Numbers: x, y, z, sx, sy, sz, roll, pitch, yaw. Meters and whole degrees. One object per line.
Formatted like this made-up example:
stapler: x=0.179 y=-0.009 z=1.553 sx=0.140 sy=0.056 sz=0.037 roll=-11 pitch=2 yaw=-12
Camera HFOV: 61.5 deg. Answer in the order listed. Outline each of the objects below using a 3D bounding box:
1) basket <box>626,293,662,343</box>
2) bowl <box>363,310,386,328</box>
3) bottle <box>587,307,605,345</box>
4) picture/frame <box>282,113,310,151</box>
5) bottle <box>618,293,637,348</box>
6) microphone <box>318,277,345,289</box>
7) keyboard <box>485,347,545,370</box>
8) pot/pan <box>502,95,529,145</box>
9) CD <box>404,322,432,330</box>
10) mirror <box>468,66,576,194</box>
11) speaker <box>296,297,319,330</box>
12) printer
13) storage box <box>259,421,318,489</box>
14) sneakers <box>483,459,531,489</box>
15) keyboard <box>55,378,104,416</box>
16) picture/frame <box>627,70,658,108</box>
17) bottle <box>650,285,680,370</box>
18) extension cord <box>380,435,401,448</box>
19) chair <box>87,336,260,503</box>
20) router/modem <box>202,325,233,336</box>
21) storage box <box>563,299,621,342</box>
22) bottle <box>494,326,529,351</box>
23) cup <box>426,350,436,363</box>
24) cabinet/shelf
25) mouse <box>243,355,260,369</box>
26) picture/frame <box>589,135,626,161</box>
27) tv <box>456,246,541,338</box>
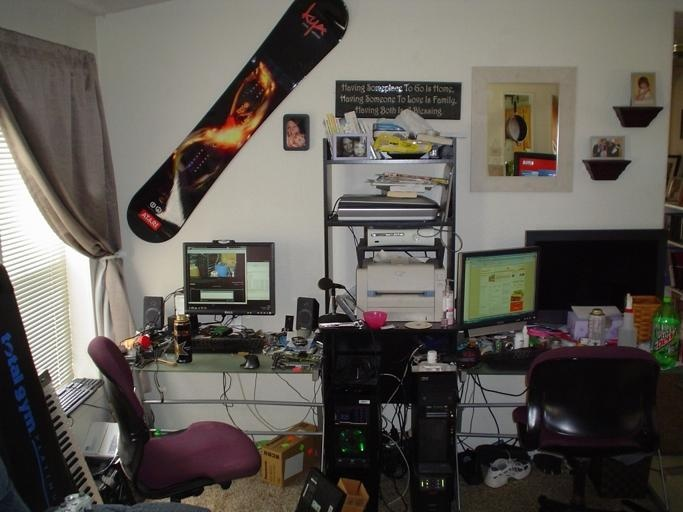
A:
basket: x=2.060 y=0.400 z=3.885 sx=0.179 sy=0.281 sz=0.182 roll=-4 pitch=4 yaw=-31
bowl: x=0.207 y=0.392 z=3.585 sx=0.105 sy=0.068 sz=0.107 roll=3 pitch=-5 yaw=0
bottle: x=1.663 y=0.463 z=3.749 sx=0.102 sy=0.204 sz=0.167 roll=2 pitch=9 yaw=22
picture/frame: x=-0.313 y=-0.867 z=3.964 sx=0.225 sy=0.310 sz=0.032 roll=0 pitch=8 yaw=-1
bottle: x=1.851 y=0.406 z=3.690 sx=0.167 sy=0.313 sz=0.100 roll=-10 pitch=12 yaw=-43
microphone: x=-0.061 y=0.182 z=3.708 sx=0.128 sy=0.079 sz=0.148 roll=1 pitch=9 yaw=18
keyboard: x=1.057 y=0.637 z=3.568 sx=0.236 sy=0.075 sz=0.173 roll=0 pitch=1 yaw=-21
pot/pan: x=1.186 y=-0.924 z=3.868 sx=0.157 sy=0.302 sz=0.097 roll=-2 pitch=12 yaw=3
CD: x=0.485 y=0.436 z=3.616 sx=0.164 sy=0.026 sz=0.119 roll=-1 pitch=9 yaw=3
mirror: x=1.244 y=-0.898 z=3.920 sx=0.754 sy=0.962 sz=0.031 roll=1 pitch=5 yaw=1
speaker: x=-0.228 y=0.381 z=3.922 sx=0.132 sy=0.219 sz=0.127 roll=4 pitch=5 yaw=26
printer: x=0.400 y=0.170 z=3.792 sx=0.593 sy=0.401 sz=0.357 roll=1 pitch=22 yaw=11
storage box: x=-0.343 y=1.375 z=3.977 sx=0.199 sy=0.281 sz=0.410 roll=6 pitch=12 yaw=37
sneakers: x=1.100 y=1.439 z=3.834 sx=0.342 sy=0.145 sz=0.139 roll=-8 pitch=8 yaw=-23
keyboard: x=-1.714 y=0.905 z=3.760 sx=0.237 sy=0.087 sz=0.368 roll=7 pitch=22 yaw=7
picture/frame: x=2.019 y=-1.121 z=3.848 sx=0.243 sy=0.368 sz=0.036 roll=1 pitch=-1 yaw=4
bottle: x=2.020 y=0.470 z=3.575 sx=0.147 sy=0.430 sz=0.149 roll=-2 pitch=8 yaw=0
extension cord: x=0.334 y=1.286 z=3.969 sx=0.149 sy=0.067 sz=0.220 roll=0 pitch=-6 yaw=15
chair: x=-0.879 y=0.991 z=3.253 sx=0.811 sy=1.133 sz=0.647 roll=-3 pitch=8 yaw=-16
router/modem: x=-0.858 y=0.511 z=3.941 sx=0.197 sy=0.031 sz=0.251 roll=-6 pitch=10 yaw=-26
storage box: x=1.722 y=0.446 z=3.858 sx=0.281 sy=0.209 sz=0.211 roll=-3 pitch=5 yaw=16
bottle: x=1.094 y=0.514 z=3.706 sx=0.162 sy=0.063 sz=0.168 roll=-2 pitch=3 yaw=0
cup: x=0.555 y=0.627 z=3.547 sx=0.068 sy=0.064 sz=0.045 roll=0 pitch=2 yaw=10
cabinet/shelf: x=0.342 y=0.014 z=3.830 sx=0.870 sy=1.513 sz=0.461 roll=0 pitch=-19 yaw=4
mouse: x=-0.564 y=0.656 z=3.584 sx=0.079 sy=0.042 sz=0.078 roll=6 pitch=0 yaw=-41
picture/frame: x=1.809 y=-0.731 z=3.893 sx=0.176 sy=0.142 sz=0.019 roll=0 pitch=1 yaw=3
tv: x=1.015 y=0.232 z=3.735 sx=0.603 sy=0.556 sz=0.072 roll=-4 pitch=10 yaw=-20
